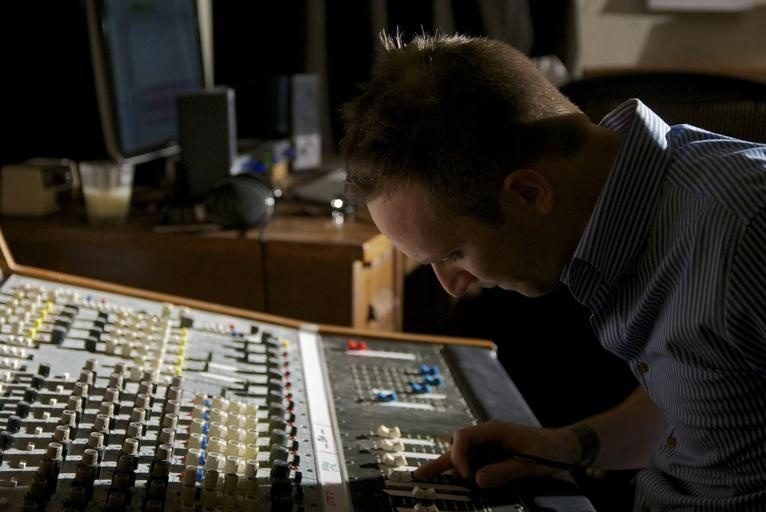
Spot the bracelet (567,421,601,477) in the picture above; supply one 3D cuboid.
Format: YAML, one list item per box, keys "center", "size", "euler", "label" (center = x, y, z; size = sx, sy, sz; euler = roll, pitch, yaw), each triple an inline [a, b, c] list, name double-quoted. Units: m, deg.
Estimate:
- center: [0.445, 0.429, 1.529]
  size: [0.087, 0.070, 0.067]
  euler: [31, 32, 13]
  label: "bracelet"

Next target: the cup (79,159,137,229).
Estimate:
- center: [-0.870, -0.199, 2.176]
  size: [0.190, 0.214, 0.186]
  euler: [2, 3, 0]
  label: "cup"

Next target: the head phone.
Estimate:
- center: [-0.500, -0.173, 2.156]
  size: [0.264, 0.116, 0.189]
  euler: [-11, 13, 6]
  label: "head phone"

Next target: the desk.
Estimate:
- center: [-0.528, 0.011, 2.226]
  size: [0.989, 0.547, 0.922]
  euler: [4, 6, 1]
  label: "desk"
